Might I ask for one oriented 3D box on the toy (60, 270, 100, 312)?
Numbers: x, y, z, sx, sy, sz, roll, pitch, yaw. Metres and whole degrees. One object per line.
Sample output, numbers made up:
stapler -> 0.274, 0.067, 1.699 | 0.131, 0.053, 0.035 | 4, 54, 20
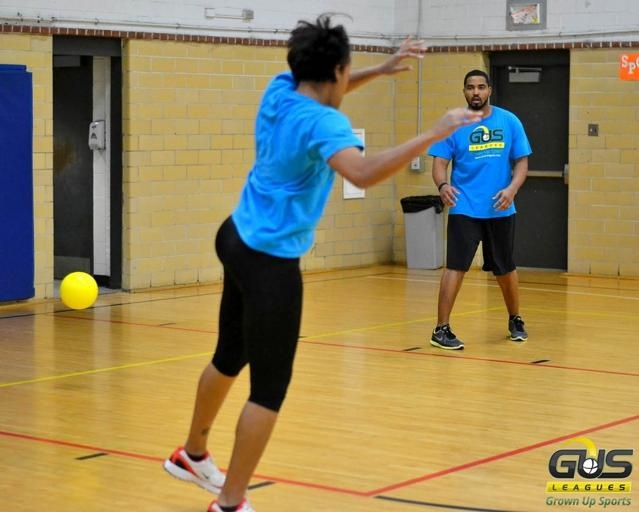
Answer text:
toy -> -2.733, 0.380, 7.010 | 0.463, 0.466, 0.440 | -2, -6, 18

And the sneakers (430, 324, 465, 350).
sneakers -> 1.134, 0.740, 5.450 | 0.144, 0.156, 0.353 | 1, 3, -39

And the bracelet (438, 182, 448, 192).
bracelet -> 1.066, -0.613, 5.329 | 0.083, 0.021, 0.077 | -29, -7, -46

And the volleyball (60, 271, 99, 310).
volleyball -> -2.789, 0.414, 7.071 | 0.459, 0.454, 0.428 | 5, 12, 5

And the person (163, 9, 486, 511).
person -> -0.084, 0.029, 1.880 | 0.763, 1.845, 1.077 | -1, 4, -16

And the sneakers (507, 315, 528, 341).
sneakers -> 1.887, 0.701, 5.770 | 0.128, 0.136, 0.328 | 0, 4, 3
